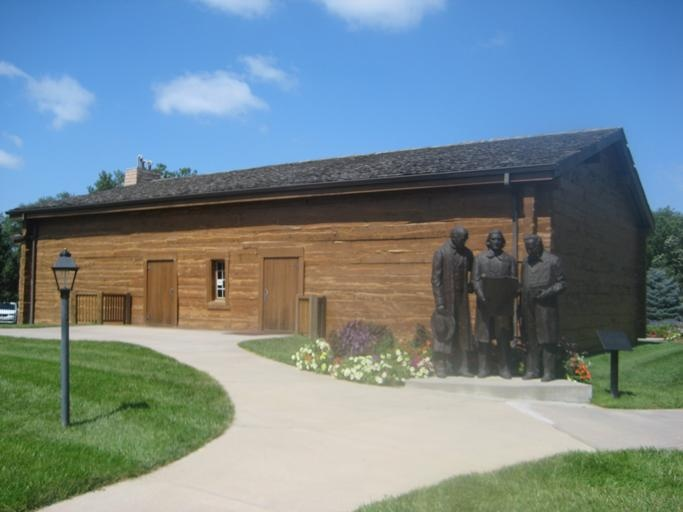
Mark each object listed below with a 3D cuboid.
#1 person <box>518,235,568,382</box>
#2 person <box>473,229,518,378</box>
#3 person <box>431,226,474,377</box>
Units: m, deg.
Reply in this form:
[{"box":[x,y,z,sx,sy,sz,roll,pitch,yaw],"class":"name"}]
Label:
[{"box":[3.405,0.871,10.889,0.685,2.399,0.499,3,8,17],"class":"person"},{"box":[2.628,0.813,11.077,0.744,2.503,0.475,3,8,12],"class":"person"},{"box":[1.968,0.790,11.388,0.727,2.579,0.776,2,8,10],"class":"person"}]
